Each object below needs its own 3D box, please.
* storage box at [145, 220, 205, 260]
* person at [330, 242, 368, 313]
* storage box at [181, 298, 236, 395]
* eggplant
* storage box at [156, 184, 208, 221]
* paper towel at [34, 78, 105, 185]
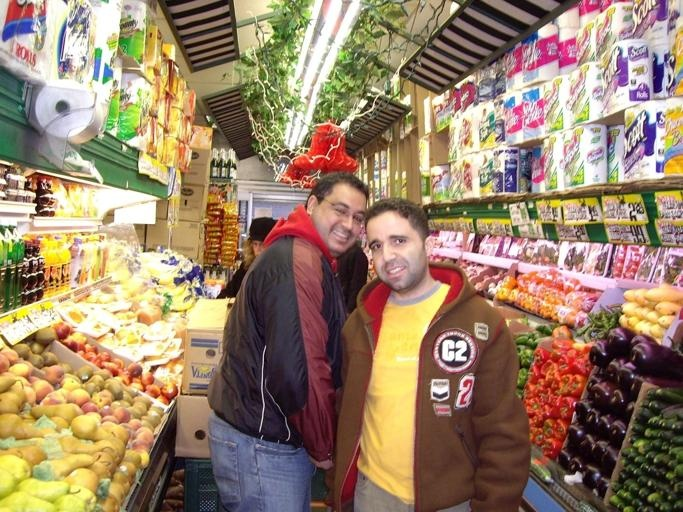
[{"bbox_3d":[-3.614,-0.390,9.255,1.272,1.046,0.728,-2,5,-20],"label":"storage box"},{"bbox_3d":[0.088,0.161,4.569,0.228,0.818,0.573,-5,22,-8],"label":"person"},{"bbox_3d":[-1.109,0.707,3.520,0.537,0.726,0.807,1,2,-5],"label":"storage box"},{"bbox_3d":[1.349,0.794,2.209,0.303,0.750,0.454,0,4,-5],"label":"eggplant"},{"bbox_3d":[-3.593,-1.130,9.025,0.942,0.996,1.319,2,4,-8],"label":"storage box"},{"bbox_3d":[-1.413,-0.711,2.188,0.288,0.522,0.608,3,2,-32],"label":"paper towel"}]
